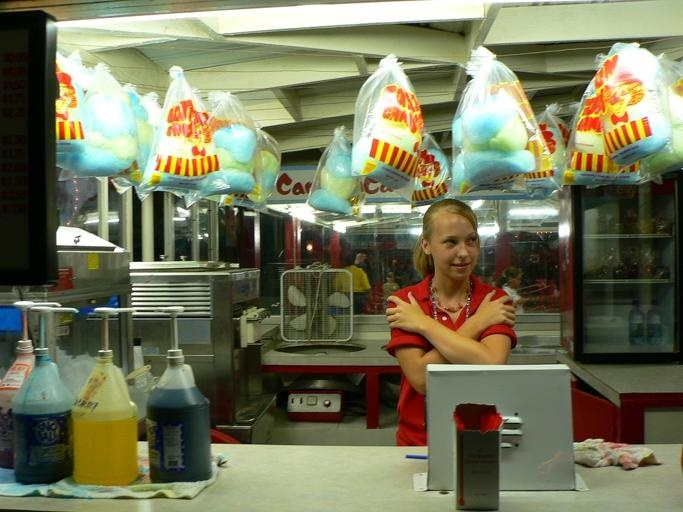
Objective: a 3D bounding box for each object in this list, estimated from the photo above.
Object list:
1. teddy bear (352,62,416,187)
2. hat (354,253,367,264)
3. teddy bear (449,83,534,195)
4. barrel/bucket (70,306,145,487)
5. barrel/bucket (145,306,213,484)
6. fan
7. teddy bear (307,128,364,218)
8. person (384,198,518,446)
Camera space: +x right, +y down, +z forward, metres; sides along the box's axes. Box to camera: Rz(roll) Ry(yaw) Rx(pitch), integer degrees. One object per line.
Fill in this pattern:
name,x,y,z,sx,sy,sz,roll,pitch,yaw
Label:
teddy bear,0.175,-0.517,2.342,0.260,0.503,0.243,1,2,1
hat,0.161,0.023,5.313,0.106,0.105,0.122,-5,9,-3
teddy bear,0.573,-0.450,2.312,0.303,0.418,0.354,1,2,8
barrel/bucket,-0.640,0.383,1.706,0.176,0.477,0.146,-1,2,-32
barrel/bucket,-0.435,0.436,1.687,0.174,0.363,0.076,0,2,-12
fan,-0.149,0.394,5.088,0.698,0.593,0.215,-2,-4,29
teddy bear,-0.036,-0.413,2.893,0.255,0.423,0.431,1,2,0
person,0.383,0.246,2.221,0.460,0.914,0.571,1,2,16
